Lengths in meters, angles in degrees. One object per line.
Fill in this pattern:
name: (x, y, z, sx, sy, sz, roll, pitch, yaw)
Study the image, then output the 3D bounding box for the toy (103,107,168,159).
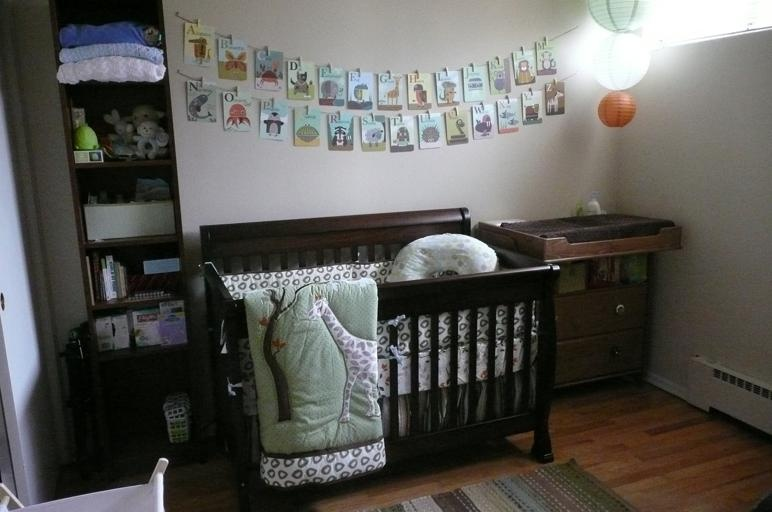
toy: (-1.300, -0.644, 3.128, 0.311, 0.273, 0.158, -6, 12, -13)

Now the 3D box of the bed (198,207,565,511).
bed: (0.073, 0.438, 3.278, 1.962, 1.314, 0.981, -8, 12, -18)

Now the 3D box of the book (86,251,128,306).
book: (-1.434, 0.101, 3.092, 0.174, 0.248, 0.148, -8, 13, -20)

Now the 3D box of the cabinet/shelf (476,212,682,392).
cabinet/shelf: (1.210, 0.222, 3.907, 1.352, 1.311, 1.007, -4, 7, -21)
